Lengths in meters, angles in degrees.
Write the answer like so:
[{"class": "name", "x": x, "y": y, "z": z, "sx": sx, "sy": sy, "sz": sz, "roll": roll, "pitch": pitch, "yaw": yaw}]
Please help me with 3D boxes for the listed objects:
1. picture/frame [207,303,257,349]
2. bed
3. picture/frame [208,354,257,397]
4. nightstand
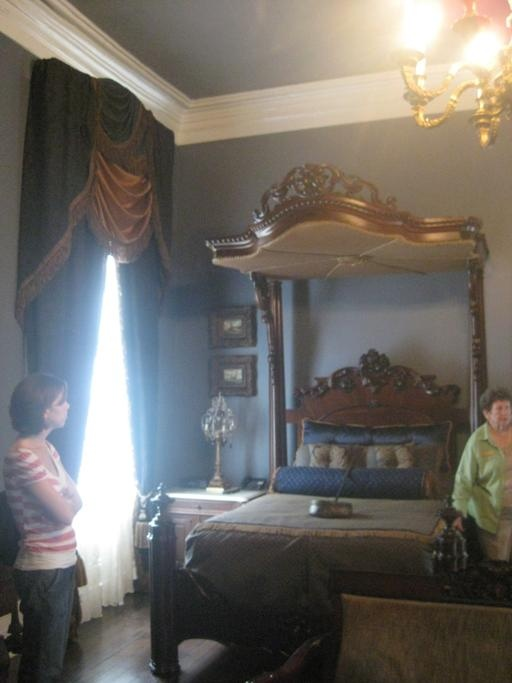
[{"class": "picture/frame", "x": -0.195, "y": -0.139, "z": 5.607, "sx": 0.390, "sy": 0.348, "sz": 0.054, "roll": -2, "pitch": -5, "yaw": 18}, {"class": "bed", "x": 0.440, "y": 0.874, "z": 3.934, "sx": 1.382, "sy": 1.547, "sz": 2.241, "roll": -5, "pitch": -12, "yaw": 26}, {"class": "picture/frame", "x": -0.189, "y": 0.304, "z": 5.582, "sx": 0.375, "sy": 0.331, "sz": 0.042, "roll": 1, "pitch": -1, "yaw": 23}, {"class": "nightstand", "x": -0.403, "y": 1.513, "z": 5.102, "sx": 0.638, "sy": 0.612, "sz": 0.410, "roll": 1, "pitch": 0, "yaw": 11}]
